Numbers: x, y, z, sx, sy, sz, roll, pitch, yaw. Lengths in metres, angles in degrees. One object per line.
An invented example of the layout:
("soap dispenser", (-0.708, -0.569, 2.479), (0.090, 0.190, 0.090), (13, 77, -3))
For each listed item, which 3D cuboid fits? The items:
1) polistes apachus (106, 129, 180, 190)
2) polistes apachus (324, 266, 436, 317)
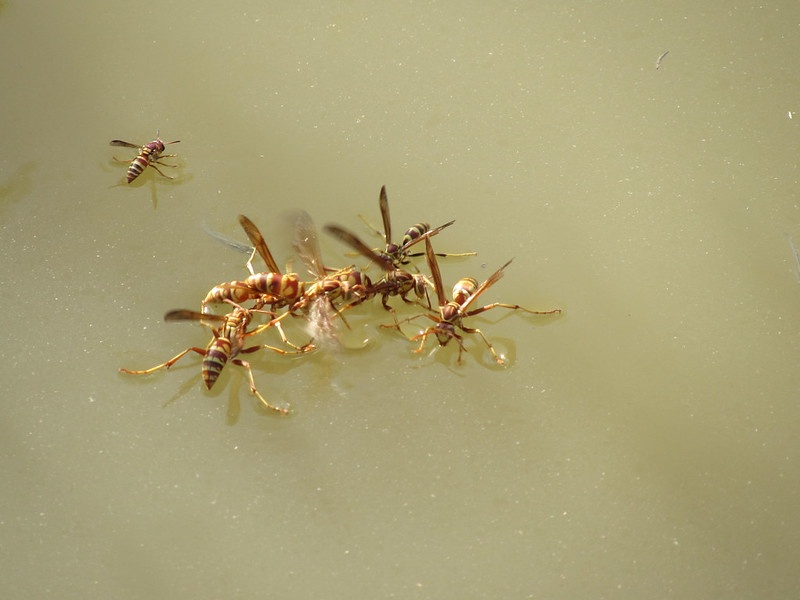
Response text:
("polistes apachus", (-1.294, -0.733, 5.062), (0.320, 0.125, 0.329), (-32, -4, 4))
("polistes apachus", (-0.082, -0.044, 4.882), (0.378, 0.097, 0.267), (-10, 4, 5))
